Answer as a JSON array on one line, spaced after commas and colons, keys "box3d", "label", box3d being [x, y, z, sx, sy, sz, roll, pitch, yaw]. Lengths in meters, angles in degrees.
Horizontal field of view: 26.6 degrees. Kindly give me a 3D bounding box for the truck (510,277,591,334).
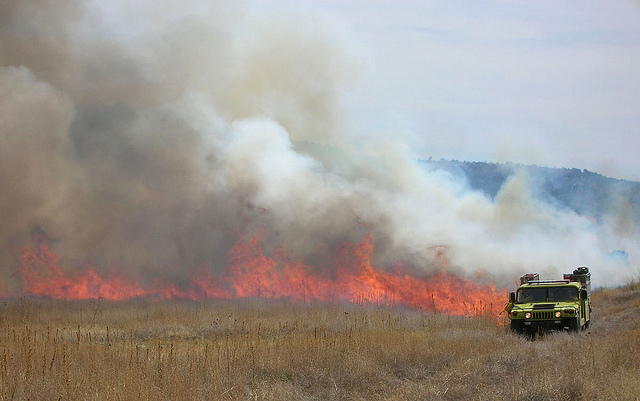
[{"box3d": [17.309, 8.012, 99.907, 5.017, 4.412, 9.319, -4, -3, 21], "label": "truck"}]
